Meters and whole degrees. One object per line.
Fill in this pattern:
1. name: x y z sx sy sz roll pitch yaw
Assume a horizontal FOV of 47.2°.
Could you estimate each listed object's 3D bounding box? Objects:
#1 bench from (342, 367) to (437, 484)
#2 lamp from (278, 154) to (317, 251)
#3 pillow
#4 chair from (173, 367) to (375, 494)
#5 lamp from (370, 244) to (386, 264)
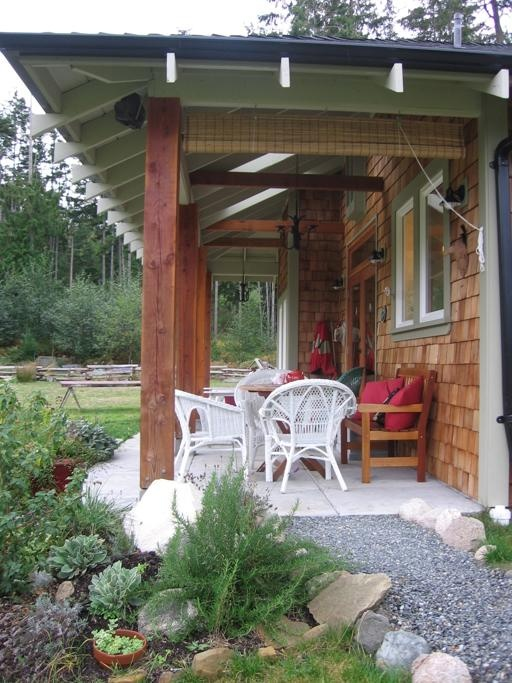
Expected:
1. bench: 1.047 0.678 4.550 0.353 0.580 0.874 1 -6 3
2. lamp: 0.555 -1.820 8.035 0.380 1.035 0.364 -4 13 -22
3. pillow: 1.043 0.470 4.539 0.123 0.421 0.405 26 -16 -22
4. chair: 0.107 0.519 4.310 0.823 0.564 1.117 0 2 -11
5. lamp: 1.273 -0.922 6.183 0.128 0.118 0.212 1 0 7
